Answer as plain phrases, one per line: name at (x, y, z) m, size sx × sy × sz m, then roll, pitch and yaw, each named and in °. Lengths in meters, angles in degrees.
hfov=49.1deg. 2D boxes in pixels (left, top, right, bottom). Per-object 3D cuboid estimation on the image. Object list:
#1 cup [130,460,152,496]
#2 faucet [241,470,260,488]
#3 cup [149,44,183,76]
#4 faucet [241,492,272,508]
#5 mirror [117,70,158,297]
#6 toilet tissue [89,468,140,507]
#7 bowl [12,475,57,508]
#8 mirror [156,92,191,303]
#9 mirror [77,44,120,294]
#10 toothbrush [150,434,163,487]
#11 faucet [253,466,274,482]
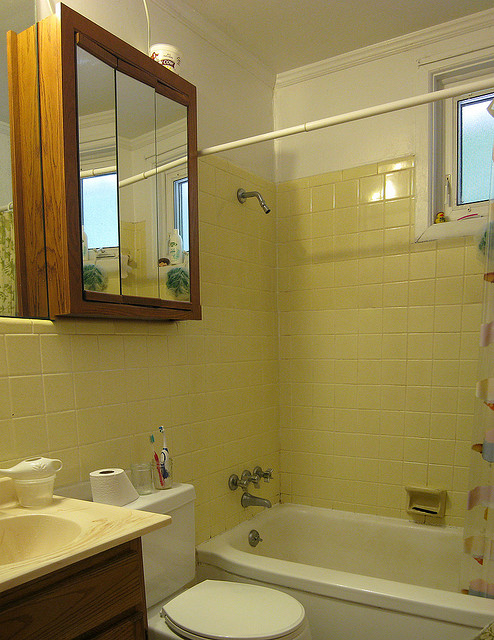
cup at (-0.312, 0.477, 1.634) m, size 0.057 × 0.087 × 0.087 m, roll 1°, pitch 5°, yaw 30°
faucet at (0.016, 0.694, 2.347) m, size 0.061 × 0.081 × 0.080 m, roll 0°, pitch 5°, yaw 23°
cup at (-0.272, -0.866, 1.802) m, size 0.118 × 0.079 × 0.112 m, roll 3°, pitch 5°, yaw 0°
faucet at (0.040, 0.746, 2.251) m, size 0.106 × 0.055 × 0.061 m, roll -2°, pitch -5°, yaw 31°
mirror at (-0.324, -0.399, 1.623) m, size 0.038 × 0.653 × 0.194 m, roll 0°, pitch 5°, yaw 23°
toilet tissue at (-0.360, 0.458, 1.497) m, size 0.087 × 0.078 × 0.112 m, roll -15°, pitch -3°, yaw 10°
bowl at (-0.499, 0.406, 1.277) m, size 0.080 × 0.059 × 0.085 m, roll -2°, pitch -9°, yaw 0°
mirror at (-0.242, -0.390, 1.774) m, size 0.044 × 0.662 × 0.201 m, roll -1°, pitch 5°, yaw 17°
mirror at (-0.407, -0.407, 1.496) m, size 0.033 × 0.662 × 0.161 m, roll 0°, pitch 5°, yaw 23°
toothbrush at (-0.289, 0.452, 1.720) m, size 0.015 × 0.162 × 0.023 m, roll -13°, pitch -5°, yaw 40°
faucet at (0.063, 0.669, 2.350) m, size 0.086 × 0.044 × 0.076 m, roll -2°, pitch -38°, yaw 11°
